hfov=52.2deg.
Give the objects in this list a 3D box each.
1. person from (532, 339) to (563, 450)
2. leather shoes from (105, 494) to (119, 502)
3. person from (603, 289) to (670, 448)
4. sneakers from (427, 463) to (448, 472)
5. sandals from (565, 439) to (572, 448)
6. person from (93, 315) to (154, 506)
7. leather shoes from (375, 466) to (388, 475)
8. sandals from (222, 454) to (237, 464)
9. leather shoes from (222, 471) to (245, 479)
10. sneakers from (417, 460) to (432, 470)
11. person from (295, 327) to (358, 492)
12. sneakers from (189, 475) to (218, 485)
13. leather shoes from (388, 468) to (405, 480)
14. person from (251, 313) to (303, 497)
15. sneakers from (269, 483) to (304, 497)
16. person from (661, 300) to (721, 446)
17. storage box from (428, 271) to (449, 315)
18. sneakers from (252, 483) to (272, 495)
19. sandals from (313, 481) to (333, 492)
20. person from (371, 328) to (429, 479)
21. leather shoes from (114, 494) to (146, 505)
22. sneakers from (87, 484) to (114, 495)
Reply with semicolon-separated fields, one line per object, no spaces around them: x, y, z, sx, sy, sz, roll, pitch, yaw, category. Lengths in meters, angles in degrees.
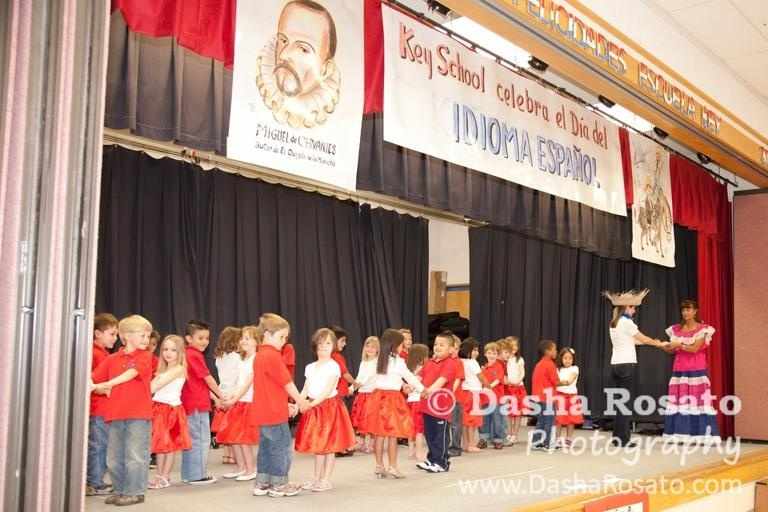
1.885;1.620;9.076;0.320;1.249;0.373;-4;-12;11;person
-2.299;2.052;6.602;0.139;0.067;0.056;-10;-13;41;leather shoes
2.909;1.290;9.189;0.563;1.876;1.011;-5;-12;15;person
0.524;2.088;7.674;0.193;0.096;0.075;8;-8;-20;sneakers
2.205;2.267;9.348;0.054;0.067;0.160;-4;-15;20;sandals
-2.190;1.310;6.542;0.486;1.545;0.542;2;-12;-19;person
-0.020;2.075;7.511;0.130;0.102;0.064;-1;-1;-12;leather shoes
-1.604;2.126;8.110;0.173;0.118;0.302;1;-11;-10;sandals
-1.411;2.110;7.441;0.075;0.109;0.260;-5;-20;30;leather shoes
0.387;2.074;7.713;0.068;0.086;0.166;8;-5;-40;sneakers
-0.533;1.390;7.076;0.534;1.454;0.592;-1;-11;-5;person
-1.677;2.080;7.224;0.215;0.106;0.087;-2;-4;-4;sneakers
0.117;2.075;7.393;0.157;0.083;0.081;3;-4;-20;leather shoes
-0.938;1.321;6.891;0.456;1.557;0.452;0;-3;-34;person
-0.849;2.052;6.818;0.286;0.153;0.106;1;-3;-20;sneakers
3.528;1.340;9.081;0.627;1.601;0.523;-6;-12;20;person
0.881;0.612;12.964;0.143;0.737;0.437;-12;-15;42;storage box
-1.069;2.065;6.830;0.066;0.091;0.179;-9;-18;42;sneakers
-0.539;2.083;7.008;0.065;0.074;0.168;-5;-12;37;sandals
0.114;1.423;7.464;0.505;1.392;0.393;-4;-11;8;person
-2.130;2.056;6.540;0.215;0.110;0.084;14;-8;-32;leather shoes
-2.501;2.070;6.932;0.236;0.118;0.084;1;-4;-18;sneakers
